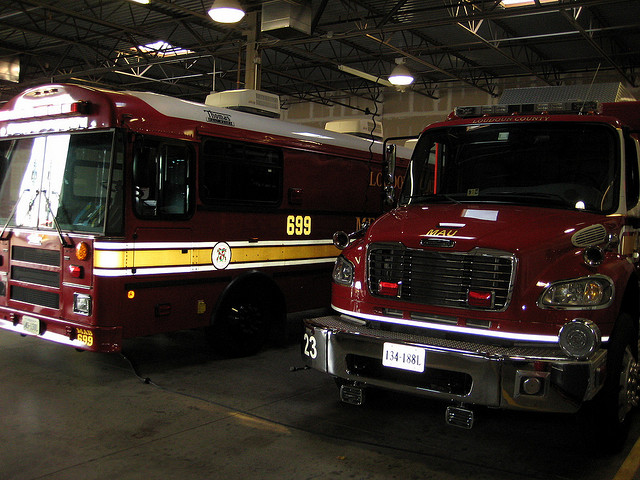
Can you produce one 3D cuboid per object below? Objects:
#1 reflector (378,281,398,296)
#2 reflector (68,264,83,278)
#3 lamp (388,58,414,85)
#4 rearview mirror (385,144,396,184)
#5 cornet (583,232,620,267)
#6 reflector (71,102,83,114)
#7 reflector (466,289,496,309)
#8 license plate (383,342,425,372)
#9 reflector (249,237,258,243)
[{"bbox_3d":[0.655,0.464,4.810,0.131,0.132,0.233,-1,2,-42],"label":"reflector"},{"bbox_3d":[-2.971,0.379,6.034,0.267,0.160,0.043,4,4,36],"label":"reflector"},{"bbox_3d":[2.820,-5.850,17.227,0.792,1.037,1.036,3,3,6],"label":"lamp"},{"bbox_3d":[0.848,-0.906,6.033,0.113,0.459,0.272,3,4,7],"label":"rearview mirror"},{"bbox_3d":[2.489,0.085,4.337,0.335,0.140,0.182,-22,7,-27],"label":"cornet"},{"bbox_3d":[-2.959,-1.594,6.060,0.114,0.110,0.185,4,2,20],"label":"reflector"},{"bbox_3d":[1.440,0.515,4.430,0.299,0.169,0.163,-2,-12,32],"label":"reflector"},{"bbox_3d":[0.733,1.023,4.371,0.023,0.216,0.467,16,-14,-41],"label":"license plate"},{"bbox_3d":[-0.996,0.007,7.454,0.028,0.075,0.156,5,5,35],"label":"reflector"}]
